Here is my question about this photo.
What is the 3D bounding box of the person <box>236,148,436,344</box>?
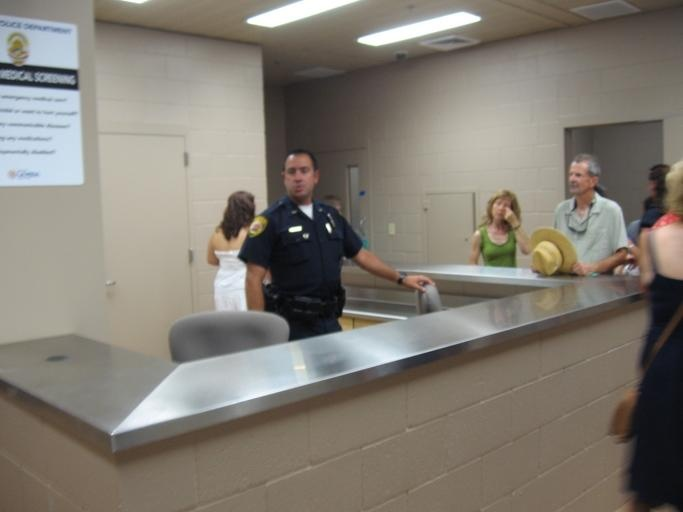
[{"bbox_3d":[-0.134,-0.068,2.554,0.749,0.950,0.357,-7,12,-33],"label":"person"}]

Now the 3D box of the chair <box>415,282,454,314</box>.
[{"bbox_3d":[0.415,0.194,2.205,0.105,0.221,0.150,-8,1,18],"label":"chair"}]

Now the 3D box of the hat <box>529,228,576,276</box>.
[{"bbox_3d":[1.228,-0.027,2.869,0.156,0.271,0.307,-6,12,-28],"label":"hat"}]

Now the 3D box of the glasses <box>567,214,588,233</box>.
[{"bbox_3d":[1.724,-0.234,3.525,0.046,0.130,0.120,3,3,-36],"label":"glasses"}]
